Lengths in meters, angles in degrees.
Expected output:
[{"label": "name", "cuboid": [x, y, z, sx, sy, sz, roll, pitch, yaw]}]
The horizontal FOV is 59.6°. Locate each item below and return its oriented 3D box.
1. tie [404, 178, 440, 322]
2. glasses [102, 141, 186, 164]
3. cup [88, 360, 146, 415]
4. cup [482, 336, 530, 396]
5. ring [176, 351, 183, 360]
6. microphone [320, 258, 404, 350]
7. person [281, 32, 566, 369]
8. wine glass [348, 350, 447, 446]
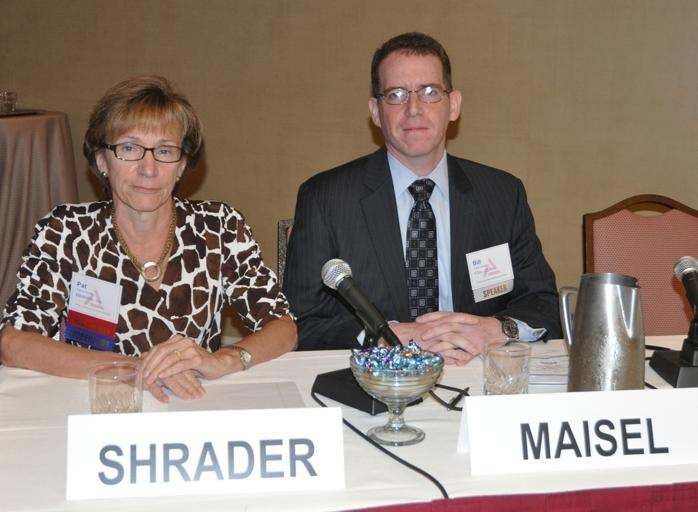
[{"label": "tie", "cuboid": [0.289, -0.036, 2.438, 0.129, 0.578, 0.094, -2, -8, 5]}, {"label": "glasses", "cuboid": [-0.697, -0.361, 2.091, 0.217, 0.073, 0.170, -5, 12, -29]}, {"label": "cup", "cuboid": [-0.568, 0.322, 1.462, 0.110, 0.112, 0.114, 5, 7, -1]}, {"label": "cup", "cuboid": [0.416, 0.299, 1.595, 0.112, 0.132, 0.120, 1, 0, 0]}, {"label": "ring", "cuboid": [-0.488, 0.283, 1.733, 0.016, 0.017, 0.004, 12, -35, -19]}, {"label": "microphone", "cuboid": [0.027, 0.121, 1.477, 0.081, 0.291, 0.081, -16, -34, -44]}, {"label": "person", "cuboid": [0.281, -0.141, 2.384, 0.981, 1.372, 0.871, 1, 18, -7]}, {"label": "wine glass", "cuboid": [0.110, 0.321, 1.496, 0.233, 0.214, 0.200, -4, 16, -25]}]
